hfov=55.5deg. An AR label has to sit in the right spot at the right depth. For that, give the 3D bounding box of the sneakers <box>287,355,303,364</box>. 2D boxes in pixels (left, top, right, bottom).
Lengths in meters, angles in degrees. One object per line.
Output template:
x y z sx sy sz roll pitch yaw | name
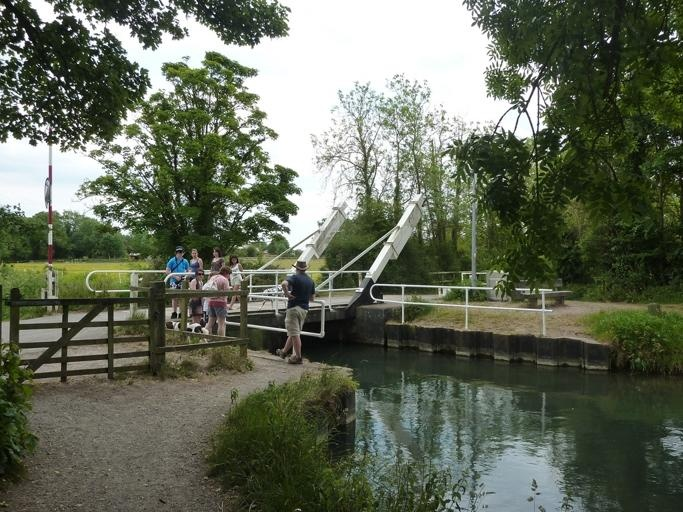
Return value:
-0.945 2.051 12.934 0.288 0.137 0.143 6 3 44 | sneakers

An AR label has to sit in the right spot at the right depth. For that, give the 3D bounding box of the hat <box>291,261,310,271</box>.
-0.992 0.226 15.632 0.296 0.145 0.341 6 9 -16 | hat

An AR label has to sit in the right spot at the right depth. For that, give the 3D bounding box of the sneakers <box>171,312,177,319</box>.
-4.322 1.525 16.694 0.111 0.180 0.178 0 -8 6 | sneakers

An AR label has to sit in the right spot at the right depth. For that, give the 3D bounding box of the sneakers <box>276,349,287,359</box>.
-1.264 1.984 13.424 0.130 0.172 0.389 2 15 -28 | sneakers

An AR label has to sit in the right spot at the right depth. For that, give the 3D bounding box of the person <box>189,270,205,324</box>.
-3.351 0.917 15.035 0.331 1.400 2.057 2 -12 -12 | person

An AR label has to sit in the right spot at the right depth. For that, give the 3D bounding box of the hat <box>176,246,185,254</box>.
-4.142 -0.163 16.627 0.287 0.167 0.410 2 0 -19 | hat

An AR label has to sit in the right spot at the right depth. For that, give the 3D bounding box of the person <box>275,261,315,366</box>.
-0.881 1.077 12.862 0.627 2.069 1.174 1 -11 -6 | person
